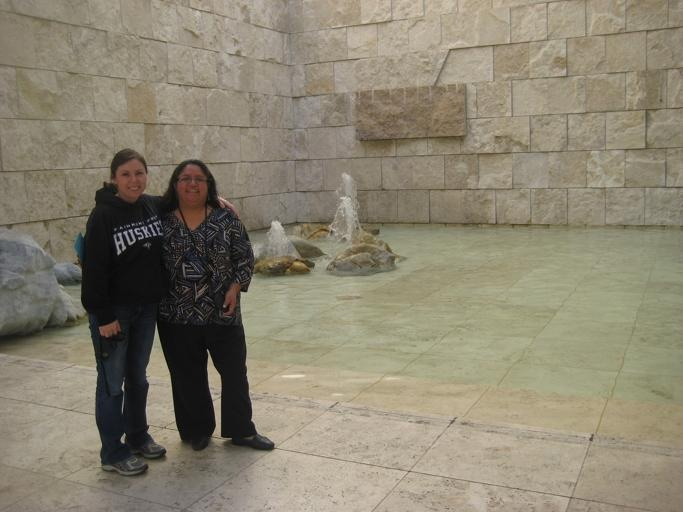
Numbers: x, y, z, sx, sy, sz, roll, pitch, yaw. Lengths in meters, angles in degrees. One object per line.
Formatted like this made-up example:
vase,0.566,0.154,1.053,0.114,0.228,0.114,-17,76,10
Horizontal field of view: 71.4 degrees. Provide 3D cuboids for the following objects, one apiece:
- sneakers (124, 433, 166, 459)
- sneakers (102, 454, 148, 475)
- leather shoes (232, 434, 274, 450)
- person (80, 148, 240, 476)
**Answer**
sneakers,-1.050,1.045,2.645,0.274,0.115,0.097,5,8,18
sneakers,-1.073,1.056,2.418,0.227,0.095,0.089,2,10,14
leather shoes,-0.486,0.998,2.622,0.198,0.069,0.094,1,5,16
person,-1.110,0.275,2.485,0.401,1.652,0.401,-4,6,-24
